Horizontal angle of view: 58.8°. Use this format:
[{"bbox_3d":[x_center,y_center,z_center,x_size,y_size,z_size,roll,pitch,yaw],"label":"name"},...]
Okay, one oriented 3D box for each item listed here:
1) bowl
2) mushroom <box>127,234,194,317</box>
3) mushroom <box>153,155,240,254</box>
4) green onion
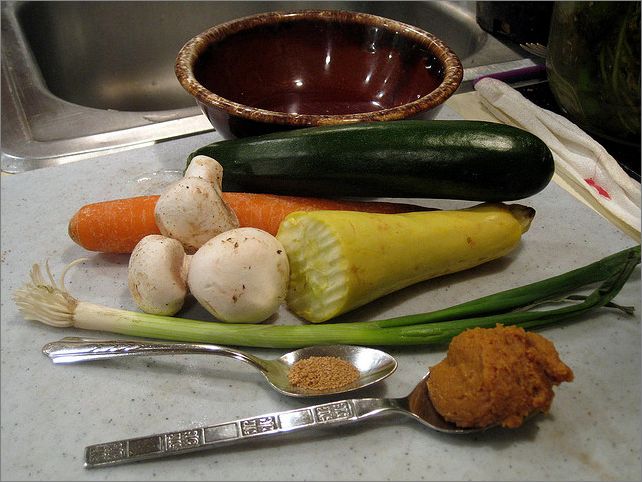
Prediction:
[{"bbox_3d":[0.003,-0.337,1.168,0.481,0.111,0.412,-2,45,-5],"label":"bowl"},{"bbox_3d":[-0.249,0.046,0.873,0.063,0.112,0.116,-8,51,-31],"label":"mushroom"},{"bbox_3d":[-0.219,-0.060,0.968,0.137,0.078,0.149,33,53,-19],"label":"mushroom"},{"bbox_3d":[0.008,0.091,0.881,1.048,0.140,0.131,-1,13,-4],"label":"green onion"}]
